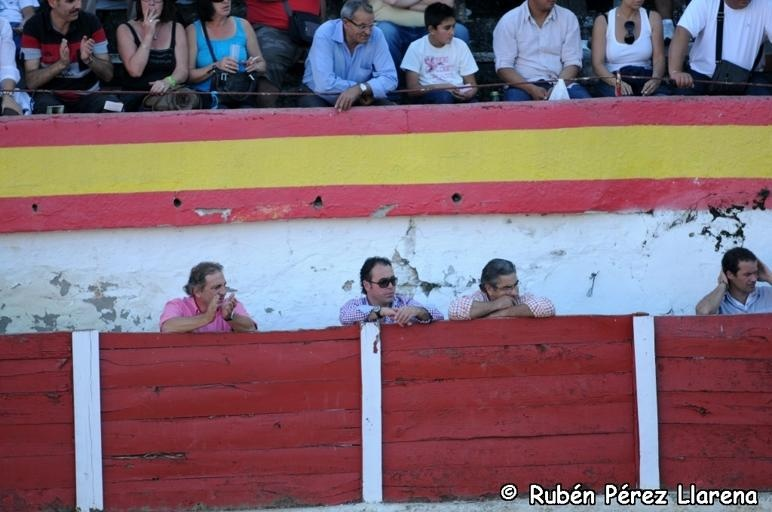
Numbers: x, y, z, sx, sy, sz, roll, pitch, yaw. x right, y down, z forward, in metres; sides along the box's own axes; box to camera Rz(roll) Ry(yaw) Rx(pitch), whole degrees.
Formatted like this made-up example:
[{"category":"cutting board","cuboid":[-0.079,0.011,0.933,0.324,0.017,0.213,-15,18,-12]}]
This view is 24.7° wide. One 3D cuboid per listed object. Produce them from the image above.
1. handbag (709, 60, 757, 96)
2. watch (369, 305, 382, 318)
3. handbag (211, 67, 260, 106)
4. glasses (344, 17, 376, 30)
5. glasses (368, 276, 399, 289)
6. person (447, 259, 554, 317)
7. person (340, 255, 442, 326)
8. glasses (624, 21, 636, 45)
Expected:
[{"category":"handbag","cuboid":[2.751,-1.479,14.467,0.129,0.276,0.310,7,4,29]},{"category":"watch","cuboid":[-0.063,0.428,13.316,0.075,0.035,0.081,-5,60,14]},{"category":"handbag","cuboid":[-1.210,-1.372,14.338,0.399,0.353,0.188,6,14,14]},{"category":"glasses","cuboid":[-0.217,-1.880,14.135,0.136,0.040,0.136,-3,26,-43]},{"category":"glasses","cuboid":[-0.004,0.211,13.436,0.183,0.102,0.063,-16,37,-7]},{"category":"person","cuboid":[0.863,0.301,13.422,0.819,0.437,0.421,-4,18,-19]},{"category":"person","cuboid":[0.031,0.295,13.425,0.634,0.470,0.830,-13,11,-39]},{"category":"glasses","cuboid":[2.024,-1.868,14.629,0.113,0.176,0.044,3,-10,-1]}]
